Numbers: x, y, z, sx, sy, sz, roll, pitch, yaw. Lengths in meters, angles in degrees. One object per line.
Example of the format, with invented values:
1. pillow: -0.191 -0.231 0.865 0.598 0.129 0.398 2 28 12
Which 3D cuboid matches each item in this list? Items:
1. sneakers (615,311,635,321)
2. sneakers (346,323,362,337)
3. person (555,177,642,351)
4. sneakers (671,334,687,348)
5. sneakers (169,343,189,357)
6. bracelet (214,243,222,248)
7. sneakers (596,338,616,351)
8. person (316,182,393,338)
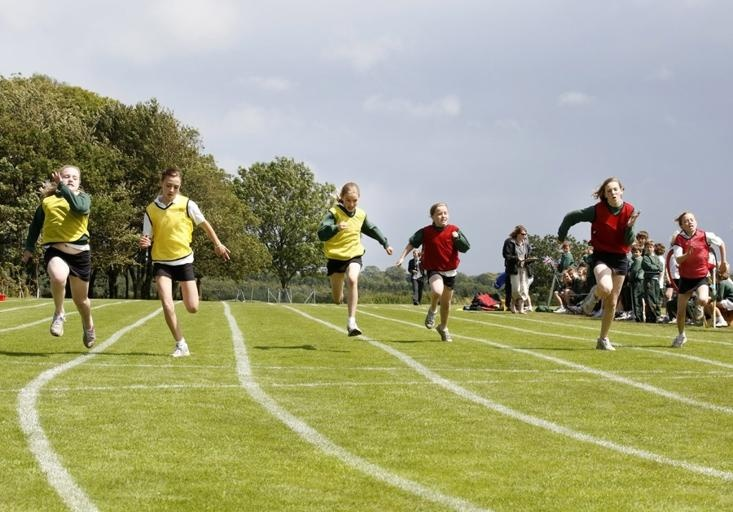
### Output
1. sneakers: 7.100 1.644 18.247 0.186 0.250 0.548 5 -3 -44
2. sneakers: -0.189 1.164 10.429 0.146 0.189 0.387 -4 -16 -14
3. person: 3.569 0.156 10.174 1.010 2.621 0.963 0 -1 23
4. sneakers: 5.390 1.474 11.509 0.144 0.194 0.413 -3 20 46
5. sneakers: -2.520 1.285 9.124 0.119 0.201 0.329 -3 -7 20
6. bracelet: -2.053 -0.142 9.222 0.096 0.076 0.099 0 2 8
7. sneakers: 3.737 1.400 10.592 0.135 0.194 0.423 -1 -6 -17
8. person: -0.297 0.067 10.529 0.765 2.357 1.125 0 -1 16
